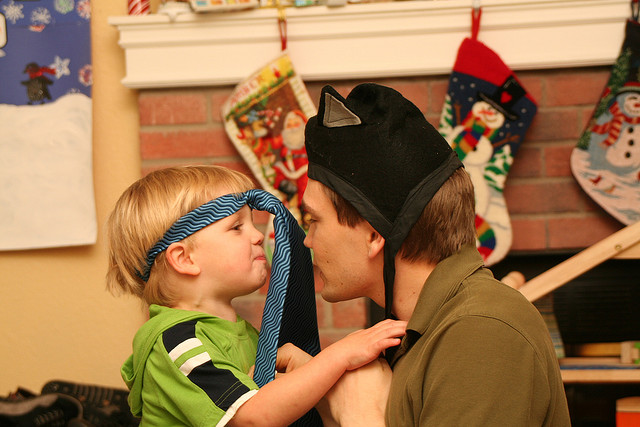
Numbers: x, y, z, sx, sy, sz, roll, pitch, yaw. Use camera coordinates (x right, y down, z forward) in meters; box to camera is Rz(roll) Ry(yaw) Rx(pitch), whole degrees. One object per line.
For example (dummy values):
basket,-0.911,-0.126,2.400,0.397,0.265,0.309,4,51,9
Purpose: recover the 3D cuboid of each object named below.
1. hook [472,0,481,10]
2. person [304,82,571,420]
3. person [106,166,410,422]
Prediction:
hook,0.570,-0.767,2.730,0.035,0.036,0.009,3,4,5
person,0.278,0.116,2.696,0.958,1.203,1.190,-2,-4,8
person,-0.217,0.219,2.759,0.963,1.053,0.733,-15,-1,-5
